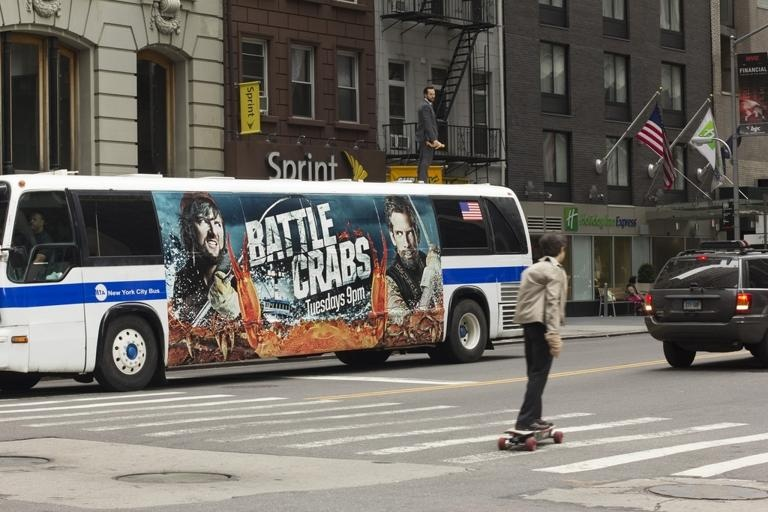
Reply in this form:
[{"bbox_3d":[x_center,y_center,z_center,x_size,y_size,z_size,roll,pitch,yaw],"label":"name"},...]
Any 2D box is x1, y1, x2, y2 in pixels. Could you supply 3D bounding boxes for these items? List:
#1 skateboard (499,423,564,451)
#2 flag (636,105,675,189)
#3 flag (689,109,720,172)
[{"bbox_3d":[1.980,2.458,14.652,0.933,0.287,0.383,-6,-3,-21],"label":"skateboard"},{"bbox_3d":[11.377,-4.674,45.472,1.320,3.924,1.446,-1,-2,-4],"label":"flag"},{"bbox_3d":[13.345,-4.740,44.660,1.341,3.371,1.246,-4,-4,38],"label":"flag"}]
